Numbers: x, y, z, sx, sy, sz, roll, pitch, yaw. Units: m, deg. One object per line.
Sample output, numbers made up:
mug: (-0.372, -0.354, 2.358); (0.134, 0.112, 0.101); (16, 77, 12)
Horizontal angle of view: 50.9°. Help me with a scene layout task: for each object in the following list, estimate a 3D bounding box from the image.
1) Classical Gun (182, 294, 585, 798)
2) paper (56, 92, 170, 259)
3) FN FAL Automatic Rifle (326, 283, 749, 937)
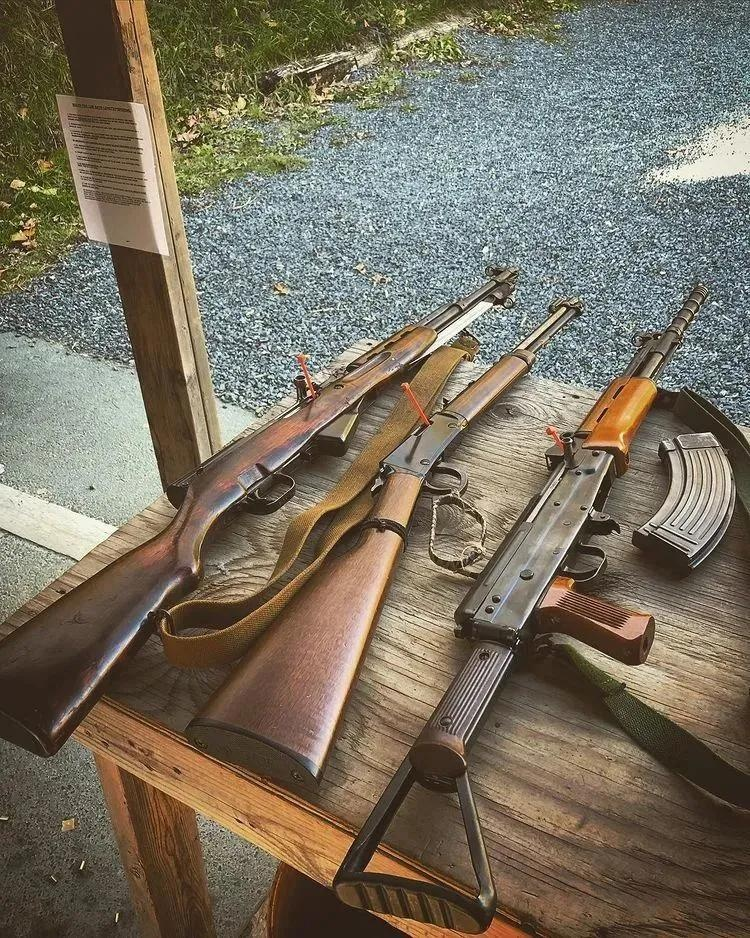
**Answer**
Classical Gun: (0.121, 0.068, 1.745); (0.263, 0.224, 1.418); (12, 35, 30)
paper: (-0.729, -0.820, 2.214); (0.280, 0.425, 0.085); (12, 36, 18)
FN FAL Automatic Rifle: (0.489, 0.243, 1.739); (0.634, 0.281, 1.688); (19, 48, 30)
